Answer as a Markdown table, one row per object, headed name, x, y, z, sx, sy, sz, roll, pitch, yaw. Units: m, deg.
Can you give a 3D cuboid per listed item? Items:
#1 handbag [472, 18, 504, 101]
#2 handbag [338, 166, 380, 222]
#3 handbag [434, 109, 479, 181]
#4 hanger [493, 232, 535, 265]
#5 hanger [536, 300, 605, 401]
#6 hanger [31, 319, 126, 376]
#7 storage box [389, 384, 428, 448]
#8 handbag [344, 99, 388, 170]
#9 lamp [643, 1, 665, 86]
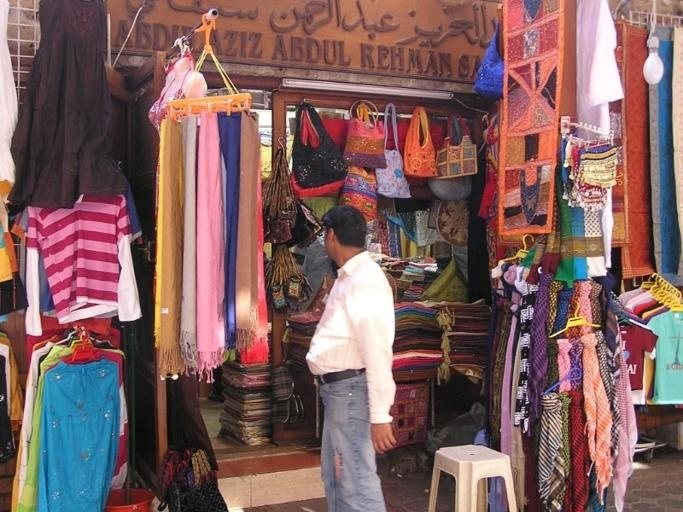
| name | x | y | z | sx | sy | sz | roll | pitch | yaw |
| --- | --- | --- | --- | --- | --- | --- | --- | --- | --- |
| handbag | 1.187 | -1.578 | 6.090 | 0.138 | 0.554 | 0.366 | 7 | 0 | -10 |
| handbag | 0.181 | -0.545 | 6.955 | 0.345 | 0.565 | 0.261 | 13 | -12 | -33 |
| handbag | 1.037 | -1.031 | 6.918 | 0.359 | 0.095 | 0.664 | -5 | -44 | 1 |
| hanger | 1.337 | -0.075 | 5.839 | 0.198 | 0.403 | 0.041 | 10 | 45 | 16 |
| hanger | 1.654 | 0.649 | 5.462 | 0.501 | 0.628 | 0.115 | -2 | 0 | -24 |
| hanger | -1.978 | 0.665 | 5.711 | 0.699 | 0.446 | 0.440 | -3 | 0 | -26 |
| storage box | 0.619 | 1.371 | 6.815 | 0.427 | 0.517 | 0.458 | 1 | -2 | -16 |
| handbag | 0.208 | -1.064 | 6.800 | 0.318 | 0.643 | 0.190 | 1 | -7 | -8 |
| lamp | 2.611 | -1.816 | 6.384 | 0.159 | 0.720 | 0.343 | -2 | 0 | 24 |
